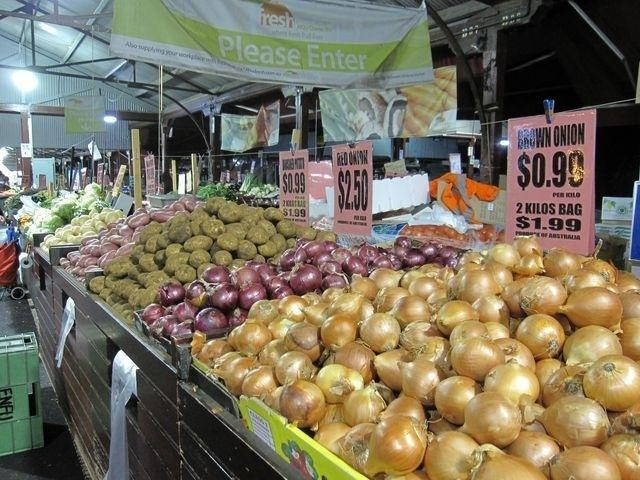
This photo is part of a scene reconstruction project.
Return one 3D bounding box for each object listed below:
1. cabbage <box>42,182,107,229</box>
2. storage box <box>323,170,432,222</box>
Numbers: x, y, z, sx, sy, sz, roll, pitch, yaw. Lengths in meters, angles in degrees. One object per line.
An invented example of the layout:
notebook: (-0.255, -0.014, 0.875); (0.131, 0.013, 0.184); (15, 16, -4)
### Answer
cabbage: (-3.564, -0.507, 6.306); (0.835, 0.986, 1.059); (-5, 11, -31)
storage box: (0.907, -0.512, 4.787); (0.820, 0.368, 0.263); (-8, 9, -23)
